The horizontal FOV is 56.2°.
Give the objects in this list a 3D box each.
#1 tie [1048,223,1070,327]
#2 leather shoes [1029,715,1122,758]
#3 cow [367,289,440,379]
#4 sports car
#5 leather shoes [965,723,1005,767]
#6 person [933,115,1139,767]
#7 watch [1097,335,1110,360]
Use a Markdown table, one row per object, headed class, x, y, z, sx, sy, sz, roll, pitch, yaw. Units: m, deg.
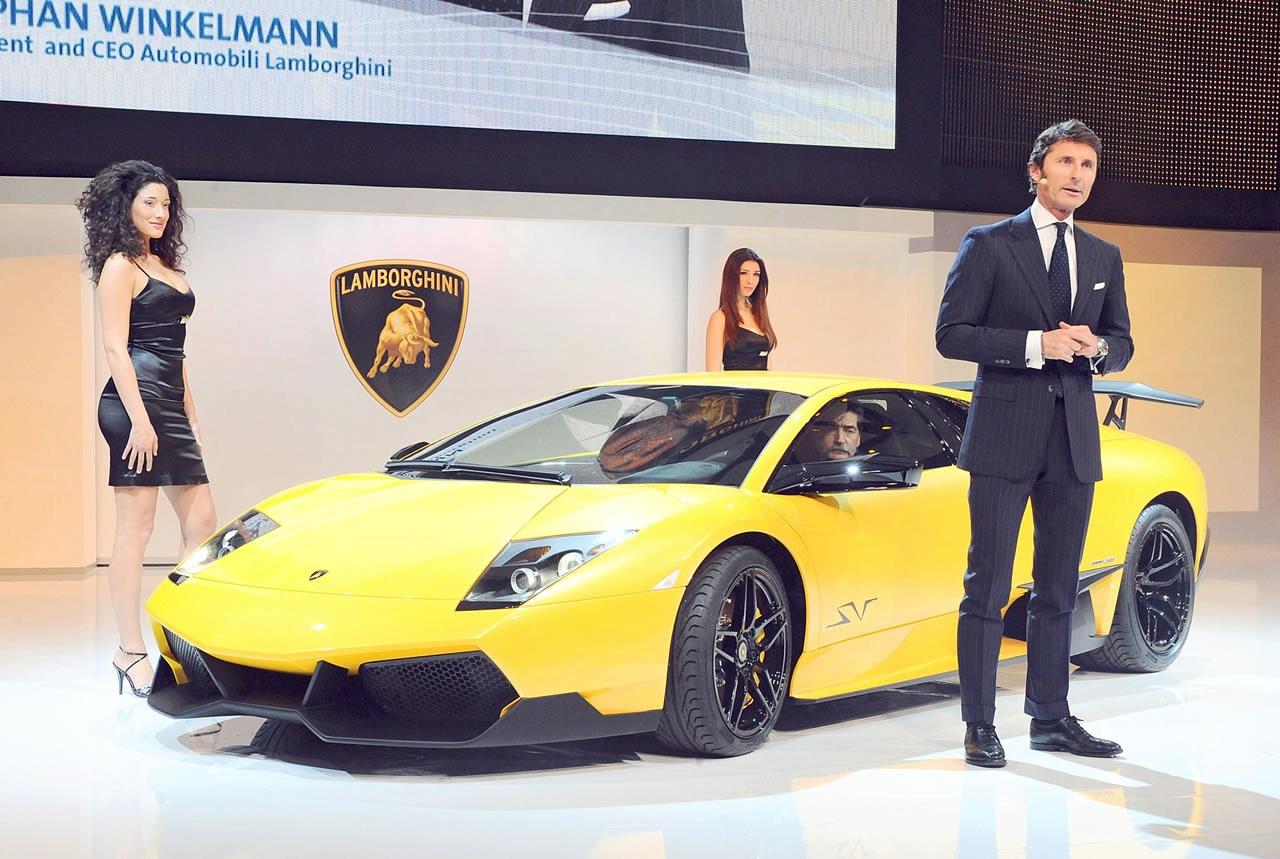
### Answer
| class | x | y | z | sx | sy | sz | roll | pitch | yaw |
| --- | --- | --- | --- | --- | --- | --- | --- | --- | --- |
| tie | 1.613 | -0.595 | 4.586 | 0.091 | 0.368 | 0.055 | -3 | 8 | -24 |
| leather shoes | 1.681 | 1.213 | 4.704 | 0.390 | 0.174 | 0.137 | -1 | 5 | 18 |
| cow | -1.717 | -0.695 | 8.780 | 0.280 | 0.445 | 0.773 | 10 | 24 | -10 |
| sports car | 0.321 | 0.619 | 4.921 | 3.194 | 0.974 | 1.964 | 2 | -5 | -42 |
| leather shoes | 1.318 | 1.210 | 4.570 | 0.088 | 0.092 | 0.191 | 1 | -10 | -9 |
| person | 1.533 | 0.050 | 4.635 | 0.744 | 2.423 | 0.427 | -2 | 8 | -14 |
| watch | 1.737 | -0.301 | 4.503 | 0.055 | 0.073 | 0.075 | -2 | 18 | 4 |
